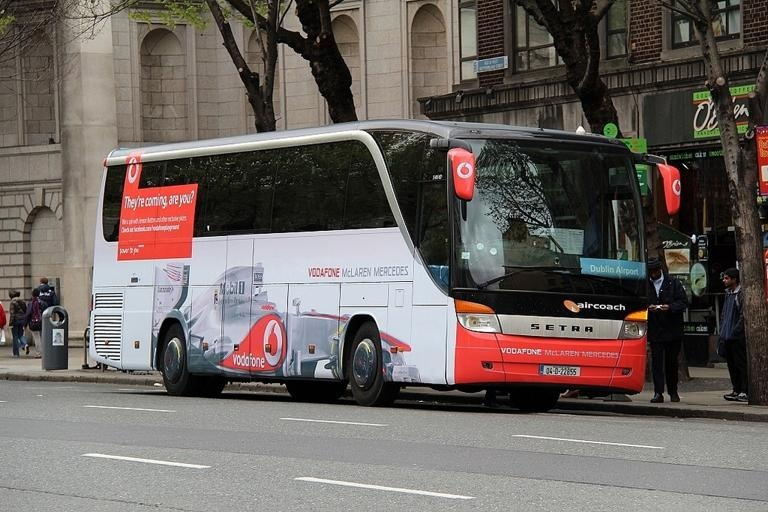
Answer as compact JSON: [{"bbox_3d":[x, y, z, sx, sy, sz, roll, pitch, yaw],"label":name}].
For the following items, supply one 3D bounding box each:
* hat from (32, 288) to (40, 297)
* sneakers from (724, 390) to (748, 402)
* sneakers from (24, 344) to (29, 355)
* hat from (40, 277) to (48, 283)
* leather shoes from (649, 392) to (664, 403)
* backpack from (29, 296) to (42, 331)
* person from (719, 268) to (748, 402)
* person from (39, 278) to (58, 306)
[{"bbox_3d":[-10.977,1.150,34.134,0.214,0.324,0.113,-1,0,-1],"label":"hat"},{"bbox_3d":[6.295,2.494,19.170,0.432,0.206,0.160,4,2,25],"label":"sneakers"},{"bbox_3d":[-12.063,3.158,36.462,0.120,0.381,0.155,-17,50,-29],"label":"sneakers"},{"bbox_3d":[-10.825,0.768,34.437,0.138,0.183,0.174,1,27,-9],"label":"hat"},{"bbox_3d":[4.775,2.495,18.917,0.337,0.257,0.109,7,-7,-37],"label":"leather shoes"},{"bbox_3d":[-10.606,1.758,32.785,0.406,0.991,0.677,-8,9,-24],"label":"backpack"},{"bbox_3d":[6.289,1.417,19.421,0.467,2.435,1.099,-2,9,18],"label":"person"},{"bbox_3d":[-10.175,1.052,32.747,0.554,0.838,0.842,-7,8,-18],"label":"person"}]
